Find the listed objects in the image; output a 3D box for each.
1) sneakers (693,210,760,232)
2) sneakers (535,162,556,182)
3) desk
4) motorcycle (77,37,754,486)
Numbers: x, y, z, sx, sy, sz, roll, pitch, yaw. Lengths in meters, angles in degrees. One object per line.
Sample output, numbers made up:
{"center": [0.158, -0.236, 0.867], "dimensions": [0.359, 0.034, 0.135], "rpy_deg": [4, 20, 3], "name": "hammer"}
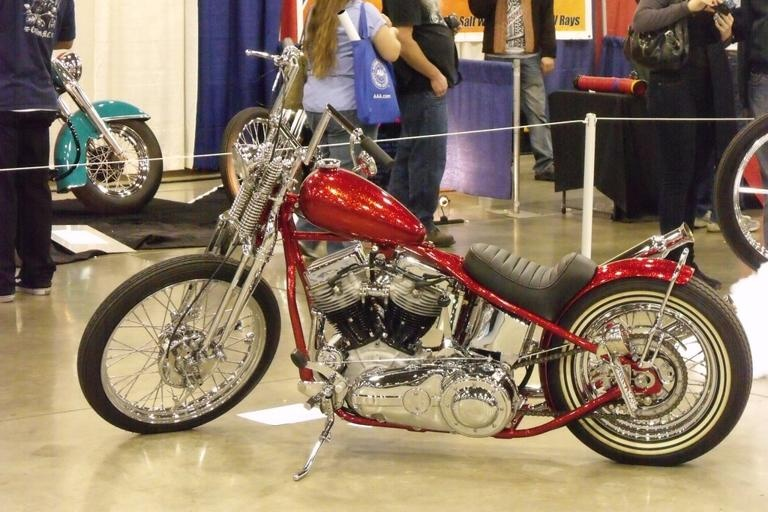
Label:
{"center": [2.298, -0.236, 5.007], "dimensions": [0.410, 0.188, 0.132], "rpy_deg": [-4, 30, 8], "name": "sneakers"}
{"center": [1.720, -0.885, 7.892], "dimensions": [0.260, 0.189, 0.092], "rpy_deg": [1, 15, 21], "name": "sneakers"}
{"center": [1.988, -0.913, 6.546], "dimensions": [1.082, 0.959, 1.169], "rpy_deg": [3, 0, -16], "name": "desk"}
{"center": [0.186, 0.227, 3.851], "dimensions": [3.324, 2.072, 1.470], "rpy_deg": [3, 12, 9], "name": "motorcycle"}
